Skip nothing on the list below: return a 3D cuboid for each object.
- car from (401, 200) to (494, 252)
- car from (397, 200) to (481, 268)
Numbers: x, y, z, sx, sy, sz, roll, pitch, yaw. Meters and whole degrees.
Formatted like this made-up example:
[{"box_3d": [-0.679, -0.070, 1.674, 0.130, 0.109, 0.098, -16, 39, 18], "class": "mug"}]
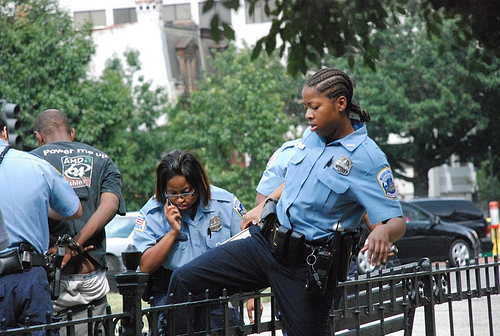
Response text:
[{"box_3d": [4.560, 1.249, 18.426, 1.979, 0.872, 1.043, -1, -2, -4], "class": "car"}, {"box_3d": [3.980, 1.398, 16.858, 2.360, 1.233, 1.318, -2, -3, -3], "class": "car"}]
